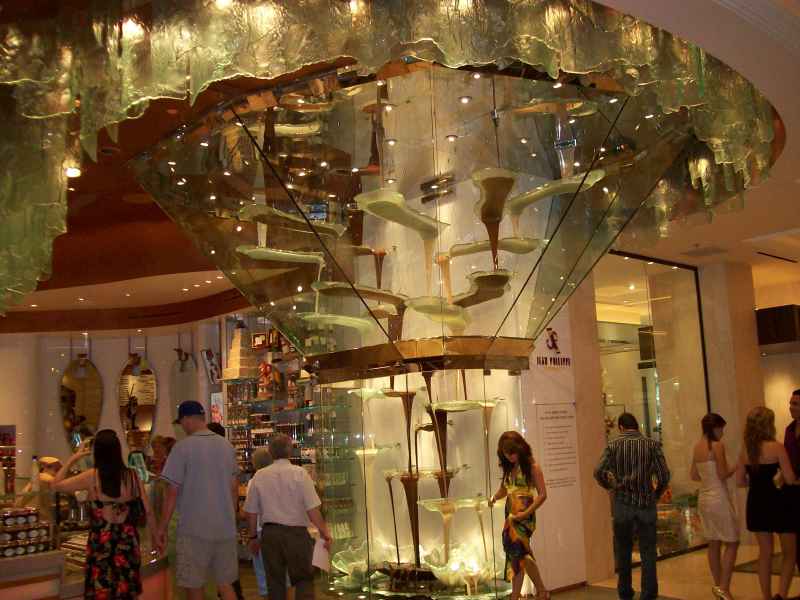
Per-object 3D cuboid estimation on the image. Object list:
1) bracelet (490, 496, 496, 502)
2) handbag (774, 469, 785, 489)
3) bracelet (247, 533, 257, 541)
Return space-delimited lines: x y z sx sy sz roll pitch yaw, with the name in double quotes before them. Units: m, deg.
"bracelet" 0.781 1.665 5.965 0.045 0.045 0.027 -42 -22 33
"handbag" 3.805 1.783 7.080 0.128 0.174 0.078 0 -9 -19
"bracelet" -1.253 2.018 6.017 0.083 0.066 0.087 2 -5 -5
